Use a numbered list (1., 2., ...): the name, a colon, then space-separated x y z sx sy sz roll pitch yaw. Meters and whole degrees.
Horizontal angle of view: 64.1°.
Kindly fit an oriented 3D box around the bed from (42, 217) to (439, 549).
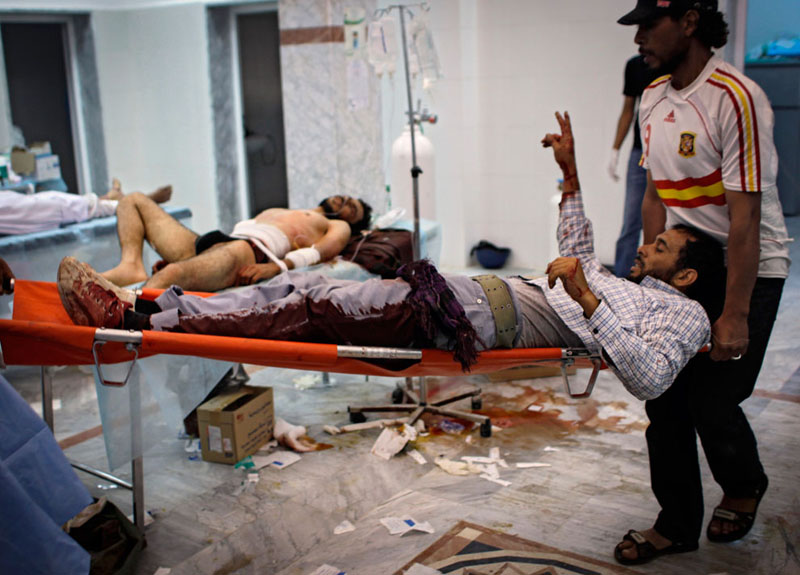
1. bed: -0.627 0.271 3.119 1.928 1.060 0.951 -4 11 -32

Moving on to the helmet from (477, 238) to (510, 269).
1. helmet: 0.556 -0.207 3.828 0.184 0.115 0.163 0 -2 35

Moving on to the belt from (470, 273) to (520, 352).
1. belt: 0.395 0.092 2.532 0.094 0.239 0.182 -21 -25 -5

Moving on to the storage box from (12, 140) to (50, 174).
1. storage box: -2.240 -0.780 3.850 0.250 0.165 0.183 0 7 -3

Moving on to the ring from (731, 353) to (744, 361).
1. ring: 1.114 0.234 2.114 0.038 0.009 0.038 -10 2 0

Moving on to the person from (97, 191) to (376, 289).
1. person: -0.966 -0.266 3.785 1.392 0.418 0.678 3 2 -15

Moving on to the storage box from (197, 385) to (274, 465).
1. storage box: -0.753 0.628 2.981 0.201 0.239 0.362 1 8 16

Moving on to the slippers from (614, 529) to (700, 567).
1. slippers: 0.892 0.899 2.246 0.298 0.070 0.116 -1 16 -3

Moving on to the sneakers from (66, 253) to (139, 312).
1. sneakers: -1.363 -0.020 2.944 0.417 0.144 0.159 27 0 -23

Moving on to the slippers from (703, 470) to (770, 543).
1. slippers: 1.234 0.821 2.346 0.148 0.078 0.383 13 15 40
